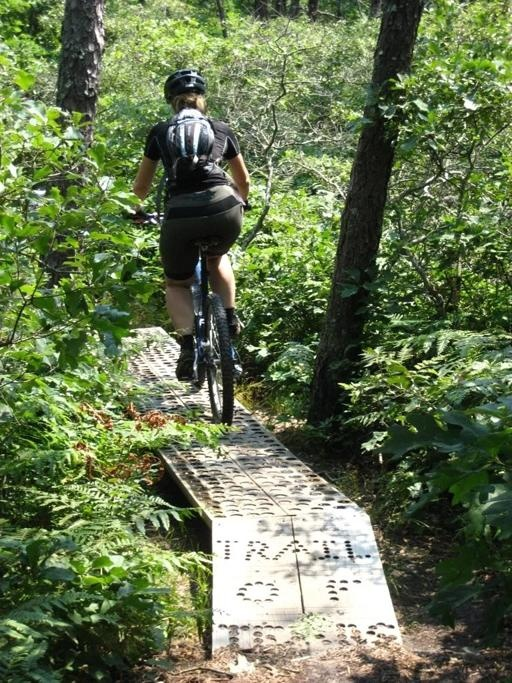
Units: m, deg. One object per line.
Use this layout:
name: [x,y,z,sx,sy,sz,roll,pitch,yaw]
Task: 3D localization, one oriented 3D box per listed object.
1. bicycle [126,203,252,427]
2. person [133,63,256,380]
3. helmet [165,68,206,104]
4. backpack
bicycle: [-0.511,-0.216,5.178,0.938,1.012,1.645,-4,44,-8]
person: [-0.454,-0.675,5.054,0.878,2.123,0.690,3,12,-18]
helmet: [-0.525,-1.946,5.040,0.248,0.249,0.285,-1,-26,-15]
backpack: [-0.452,-1.423,4.725,0.385,0.458,0.297,0,-6,-12]
